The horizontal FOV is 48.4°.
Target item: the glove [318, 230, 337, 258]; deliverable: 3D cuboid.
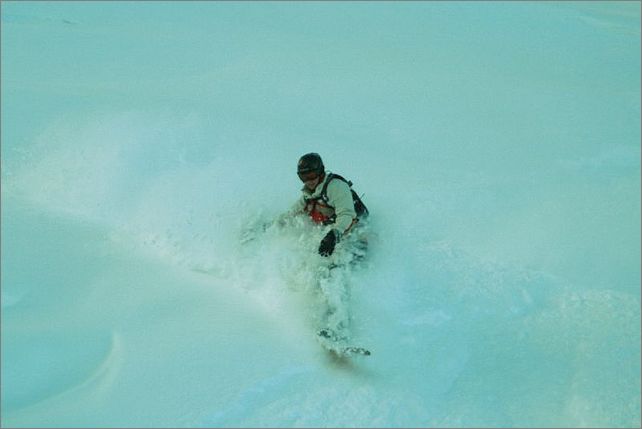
[{"bbox_3d":[0.160,0.681,16.220,0.345,0.163,0.620,20,87,10],"label":"glove"}]
